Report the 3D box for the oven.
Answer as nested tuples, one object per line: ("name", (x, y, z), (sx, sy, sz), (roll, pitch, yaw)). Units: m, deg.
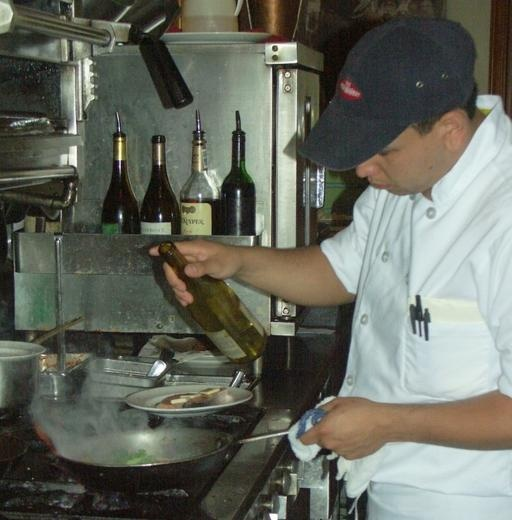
("oven", (-0.088, -0.219, 1.960), (0.664, 0.970, 0.693), (-1, 4, 7))
